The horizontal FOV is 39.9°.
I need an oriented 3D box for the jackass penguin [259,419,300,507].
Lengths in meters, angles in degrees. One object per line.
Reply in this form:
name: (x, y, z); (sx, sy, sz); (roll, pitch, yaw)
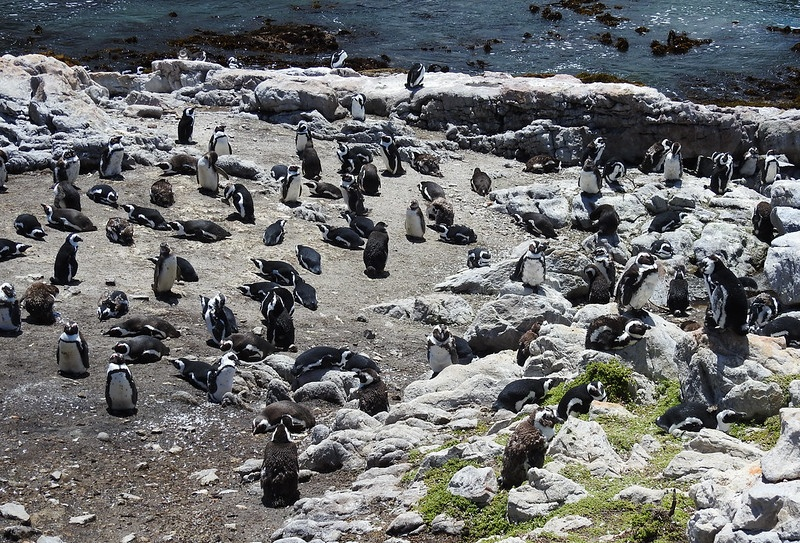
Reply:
jackass penguin: (-1.941, 3.135, 18.242); (0.603, 1.340, 0.595); (1, 5, -1)

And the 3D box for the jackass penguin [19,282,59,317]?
jackass penguin: (-6.842, 0.530, 20.982); (0.611, 0.597, 0.697); (-4, 16, -16)

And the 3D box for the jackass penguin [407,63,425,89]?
jackass penguin: (0.462, -5.820, 32.919); (0.492, 0.791, 0.661); (0, 16, -2)
